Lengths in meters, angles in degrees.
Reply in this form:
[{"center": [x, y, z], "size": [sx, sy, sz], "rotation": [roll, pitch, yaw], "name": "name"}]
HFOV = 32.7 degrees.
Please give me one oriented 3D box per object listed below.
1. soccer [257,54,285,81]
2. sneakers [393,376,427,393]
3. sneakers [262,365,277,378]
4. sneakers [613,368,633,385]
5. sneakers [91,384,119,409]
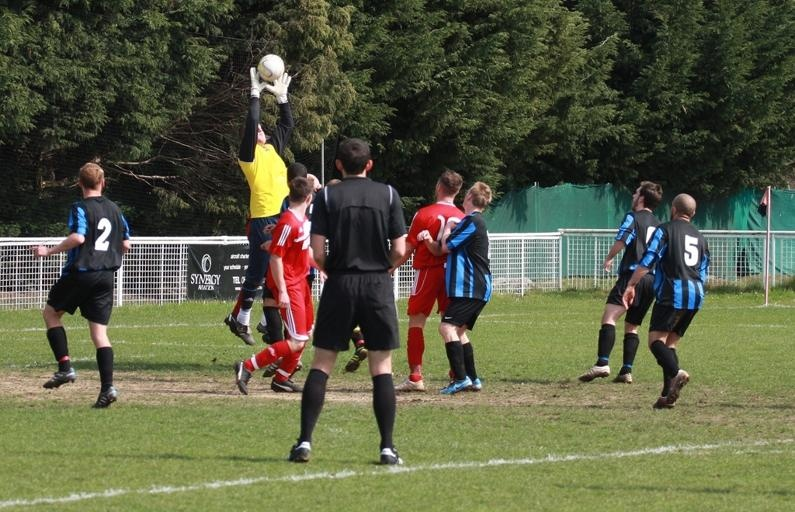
[{"center": [-2.545, -3.736, 26.894], "size": [0.536, 0.508, 0.506], "rotation": [-19, 44, -27], "name": "soccer"}, {"center": [0.240, 2.567, 26.590], "size": [0.655, 0.271, 0.234], "rotation": [2, -3, -2], "name": "sneakers"}, {"center": [-2.504, 2.279, 26.600], "size": [0.232, 0.151, 0.387], "rotation": [0, 2, 12], "name": "sneakers"}, {"center": [4.517, 2.424, 26.881], "size": [0.179, 0.219, 0.482], "rotation": [0, 3, 3], "name": "sneakers"}, {"center": [-5.419, 2.642, 25.122], "size": [0.649, 0.277, 0.235], "rotation": [-33, -7, 37], "name": "sneakers"}]
